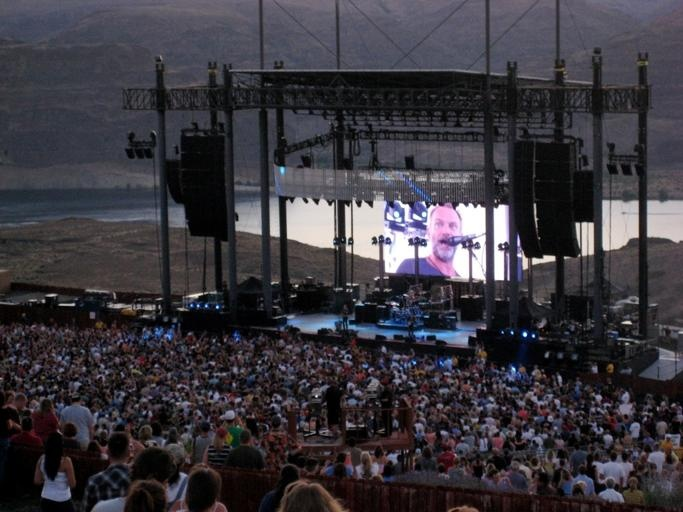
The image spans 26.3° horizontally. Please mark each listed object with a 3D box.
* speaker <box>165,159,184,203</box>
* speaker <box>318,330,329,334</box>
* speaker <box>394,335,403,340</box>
[{"bbox_3d":[-16.094,-7.080,137.842,2.115,3.959,0.837,4,13,12],"label":"speaker"},{"bbox_3d":[-1.710,6.840,132.358,0.458,0.308,0.489,-1,0,25],"label":"speaker"},{"bbox_3d":[5.028,7.272,131.138,0.454,0.293,0.484,0,2,16],"label":"speaker"}]
